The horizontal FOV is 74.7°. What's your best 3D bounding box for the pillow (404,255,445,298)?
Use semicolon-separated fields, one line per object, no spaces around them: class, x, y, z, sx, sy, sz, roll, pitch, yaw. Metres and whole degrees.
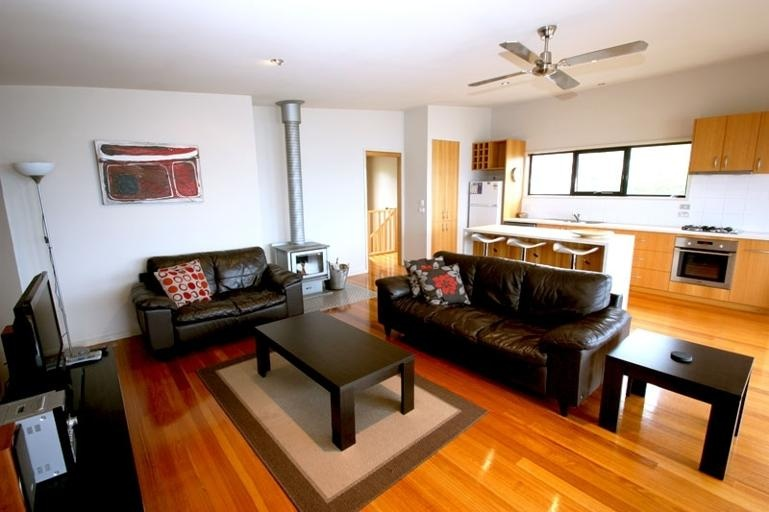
pillow;0.439;0.251;6.293;0.501;0.443;0.184;1;-21;-7

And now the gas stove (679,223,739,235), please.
gas stove;4.648;-0.393;7.205;0.679;0.080;0.448;3;12;33

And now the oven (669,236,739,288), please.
oven;4.652;0.064;7.248;0.781;0.683;0.580;11;16;44

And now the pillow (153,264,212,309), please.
pillow;-2.456;0.328;6.253;0.598;0.460;0.522;-12;13;-34

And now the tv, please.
tv;-3.064;0.576;4.423;0.137;0.661;0.966;0;2;-19

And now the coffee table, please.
coffee table;-0.469;0.989;4.979;1.087;0.590;1.939;-12;17;-43

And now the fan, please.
fan;1.985;-2.194;5.736;1.313;0.597;2.039;-2;10;11

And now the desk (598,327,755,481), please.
desk;2.857;1.157;4.886;1.233;0.966;1.291;15;33;38

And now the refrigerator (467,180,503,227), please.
refrigerator;1.833;-0.959;9.306;0.192;0.806;0.644;-15;15;-37

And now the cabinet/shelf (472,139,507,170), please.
cabinet/shelf;1.947;-1.861;9.257;0.664;0.520;0.214;4;8;37
